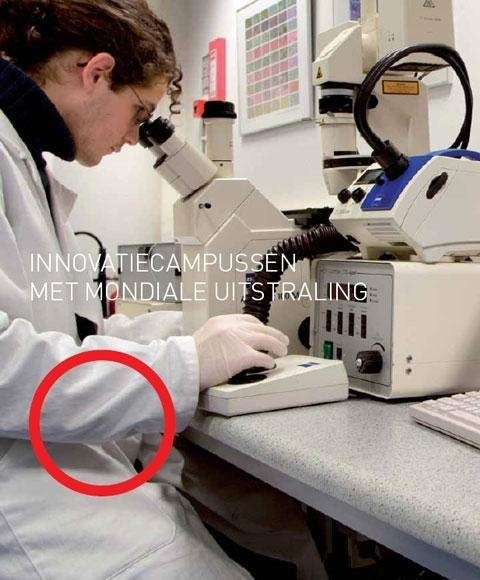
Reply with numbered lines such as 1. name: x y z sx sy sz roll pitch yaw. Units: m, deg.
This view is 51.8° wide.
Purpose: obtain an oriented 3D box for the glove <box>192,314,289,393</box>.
1. glove: 0.001 0.097 0.805 0.142 0.052 0.103 -9 4 -27
